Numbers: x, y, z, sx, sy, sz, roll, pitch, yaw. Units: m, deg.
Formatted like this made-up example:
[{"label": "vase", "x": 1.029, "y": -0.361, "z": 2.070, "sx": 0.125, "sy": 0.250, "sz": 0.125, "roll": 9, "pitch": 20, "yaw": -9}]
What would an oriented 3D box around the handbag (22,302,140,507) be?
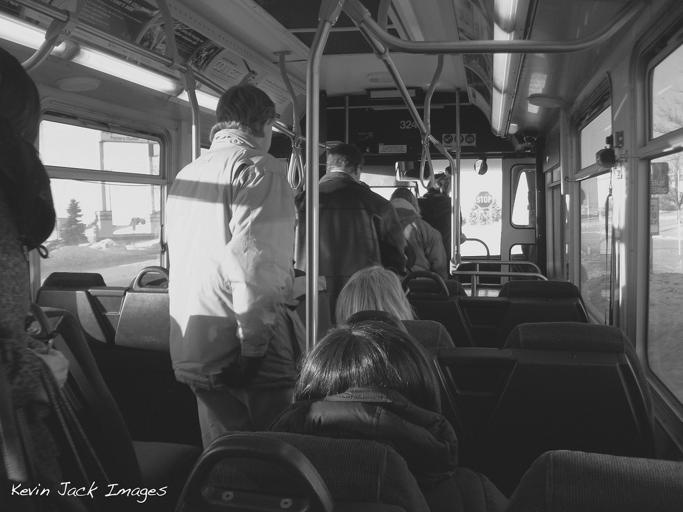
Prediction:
[{"label": "handbag", "x": -0.752, "y": 0.485, "z": 1.966, "sx": 0.188, "sy": 0.598, "sz": 0.386, "roll": -8, "pitch": -15, "yaw": -39}]
